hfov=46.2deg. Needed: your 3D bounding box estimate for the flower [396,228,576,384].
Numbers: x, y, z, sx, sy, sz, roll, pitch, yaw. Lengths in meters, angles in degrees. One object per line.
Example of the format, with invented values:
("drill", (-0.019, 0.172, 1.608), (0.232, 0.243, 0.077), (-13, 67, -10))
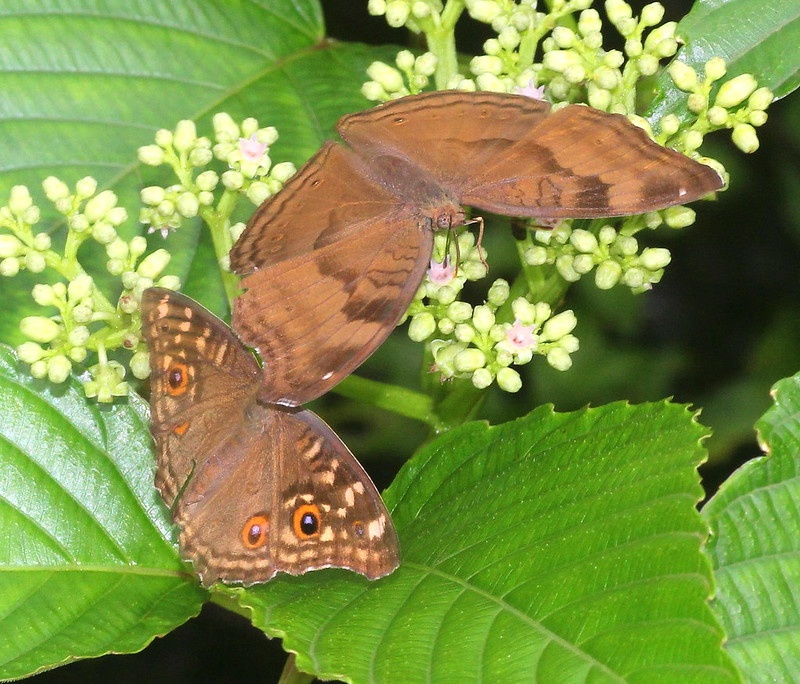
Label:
("flower", (0.232, -0.064, 2.384), (0.424, 0.373, 0.144), (-20, -17, 37))
